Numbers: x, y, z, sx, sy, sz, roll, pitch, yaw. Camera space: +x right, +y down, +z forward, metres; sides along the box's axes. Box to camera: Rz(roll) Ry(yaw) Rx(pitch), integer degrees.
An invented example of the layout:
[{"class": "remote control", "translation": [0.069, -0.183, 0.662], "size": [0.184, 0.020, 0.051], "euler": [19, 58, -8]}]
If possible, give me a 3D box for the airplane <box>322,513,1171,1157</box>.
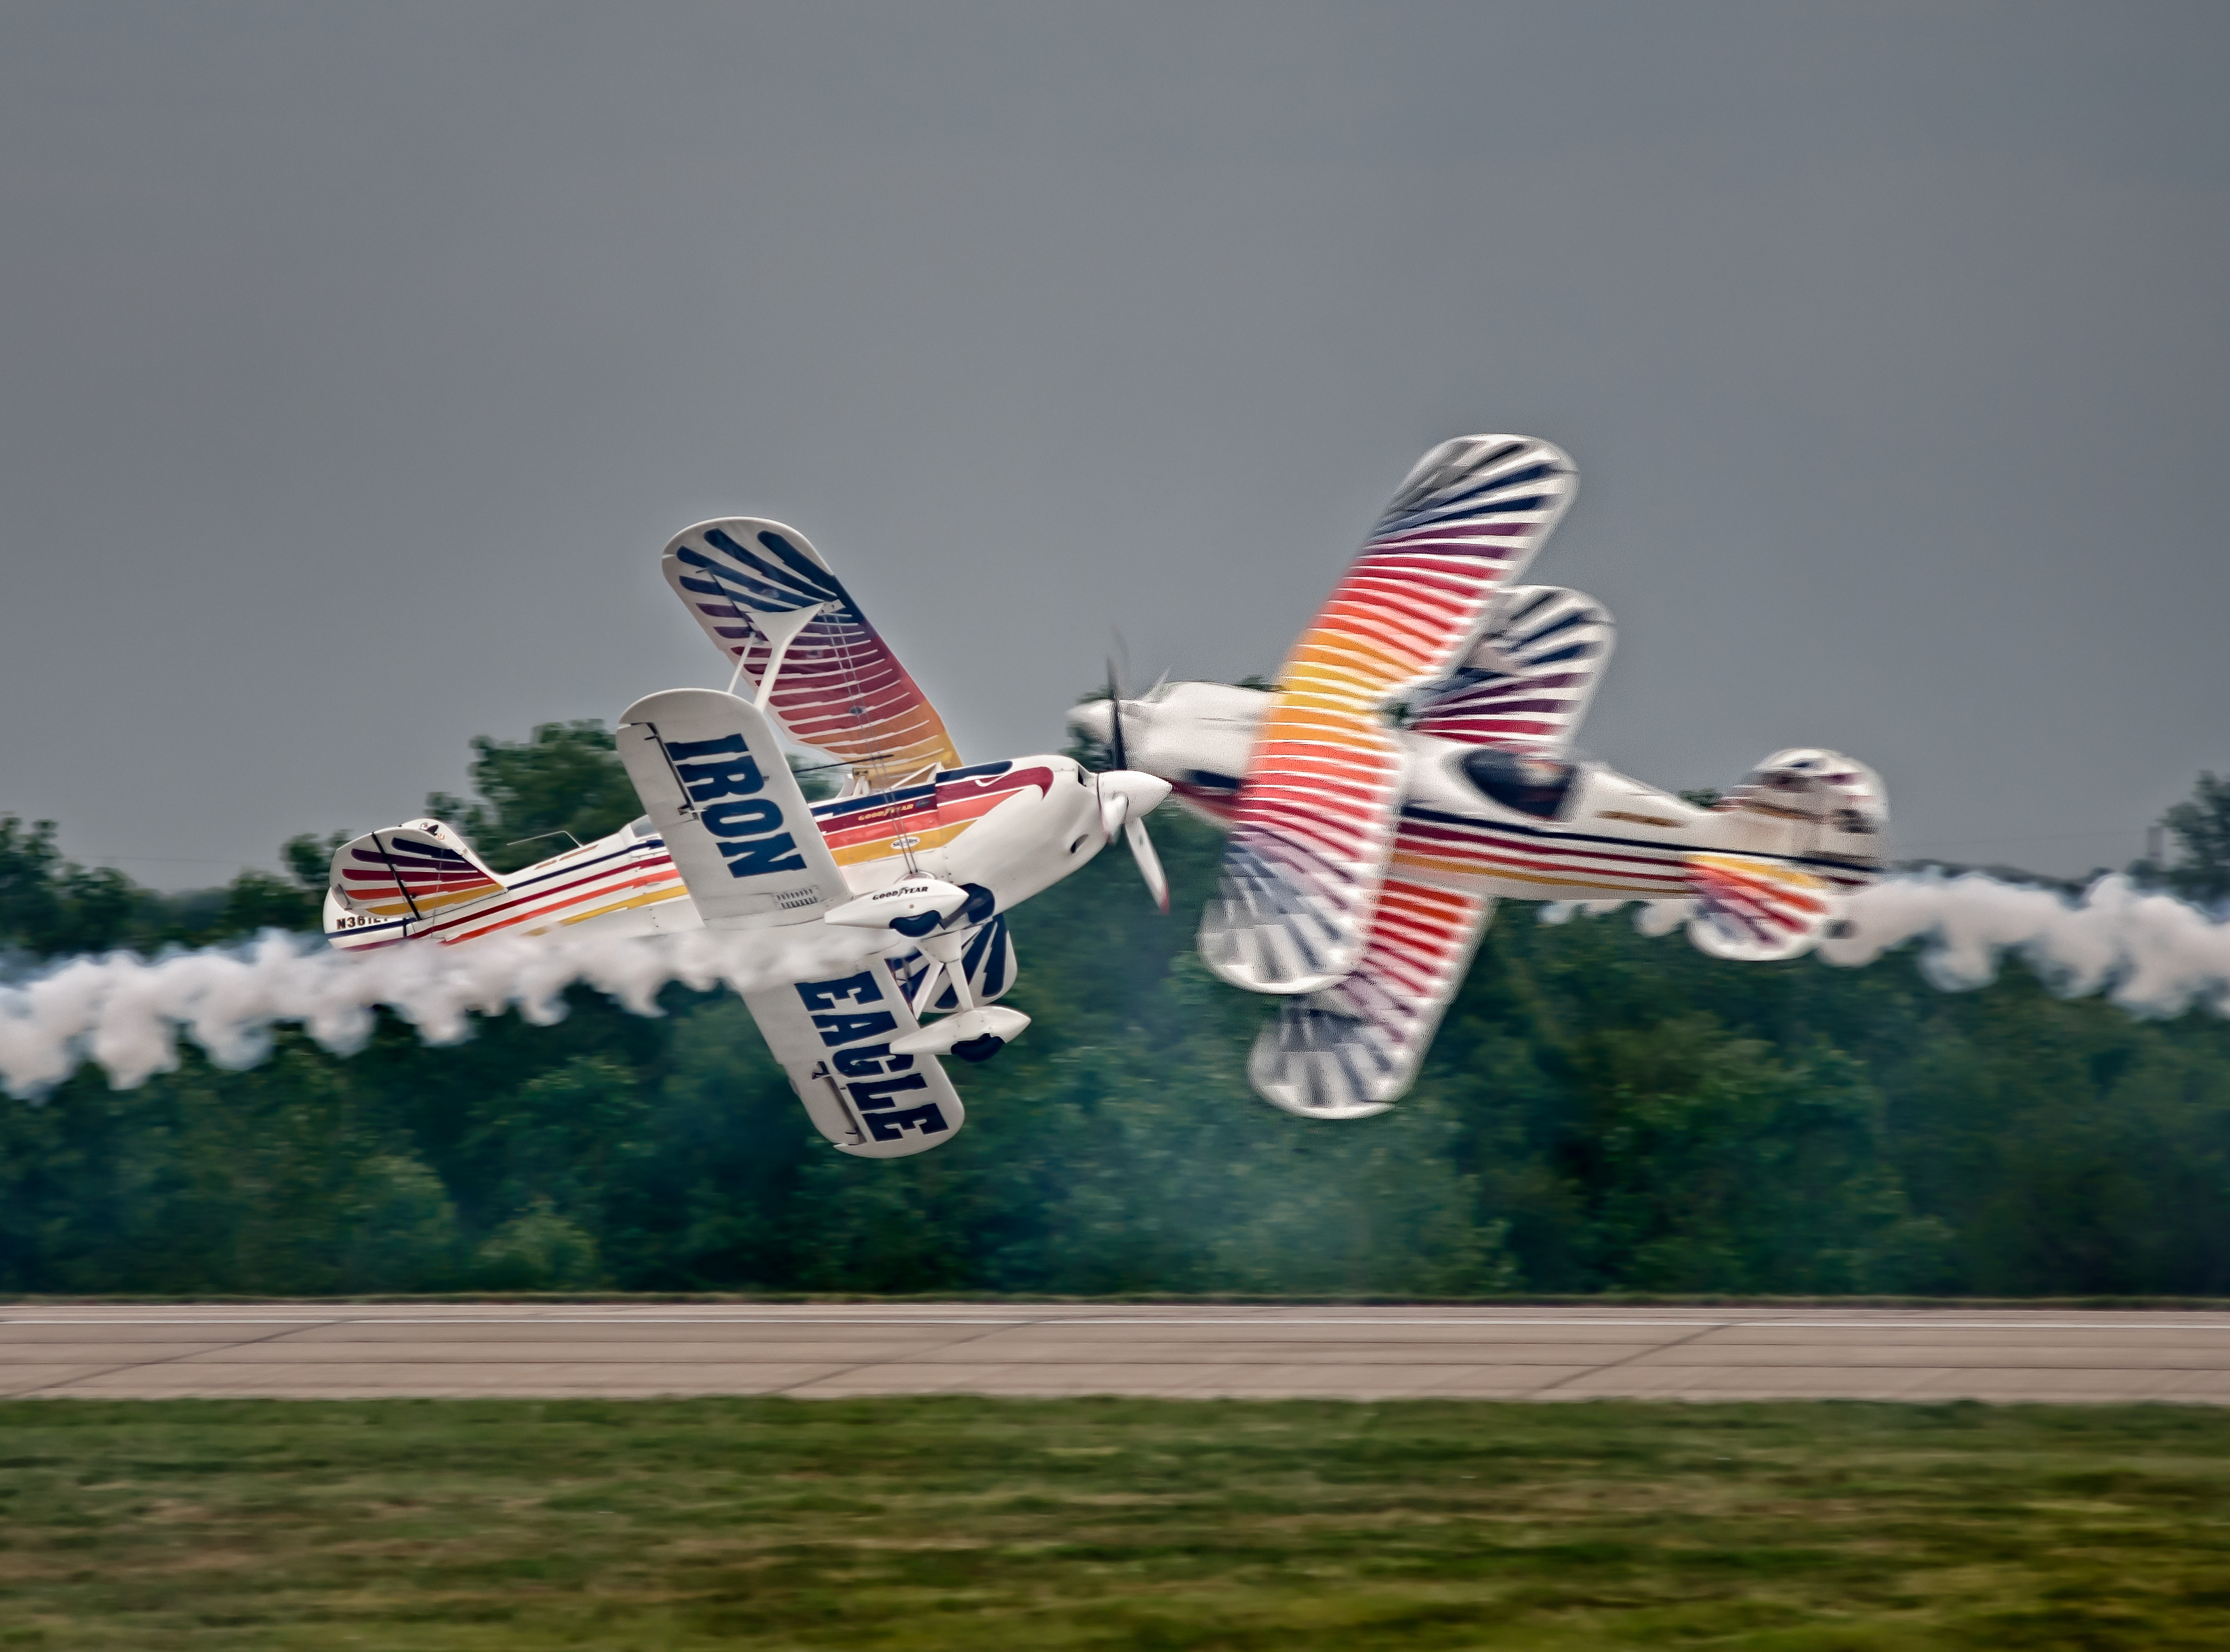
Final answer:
[{"class": "airplane", "translation": [-3.679, 0.285, 29.741], "size": [9.823, 6.781, 3.519], "euler": [-9, -33, 35]}]
